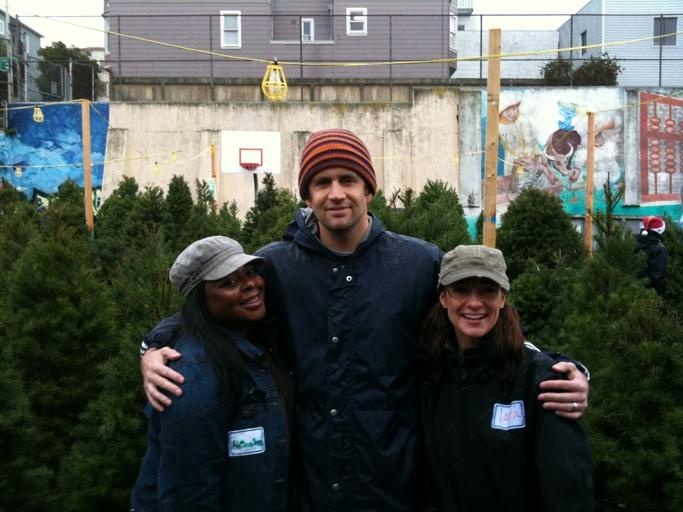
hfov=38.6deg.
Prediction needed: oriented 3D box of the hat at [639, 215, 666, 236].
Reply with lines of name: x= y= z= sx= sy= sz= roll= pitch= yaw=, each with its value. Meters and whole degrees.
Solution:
hat: x=5.265 y=-0.533 z=16.703 sx=0.412 sy=0.412 sz=0.323 roll=20 pitch=17 yaw=38
